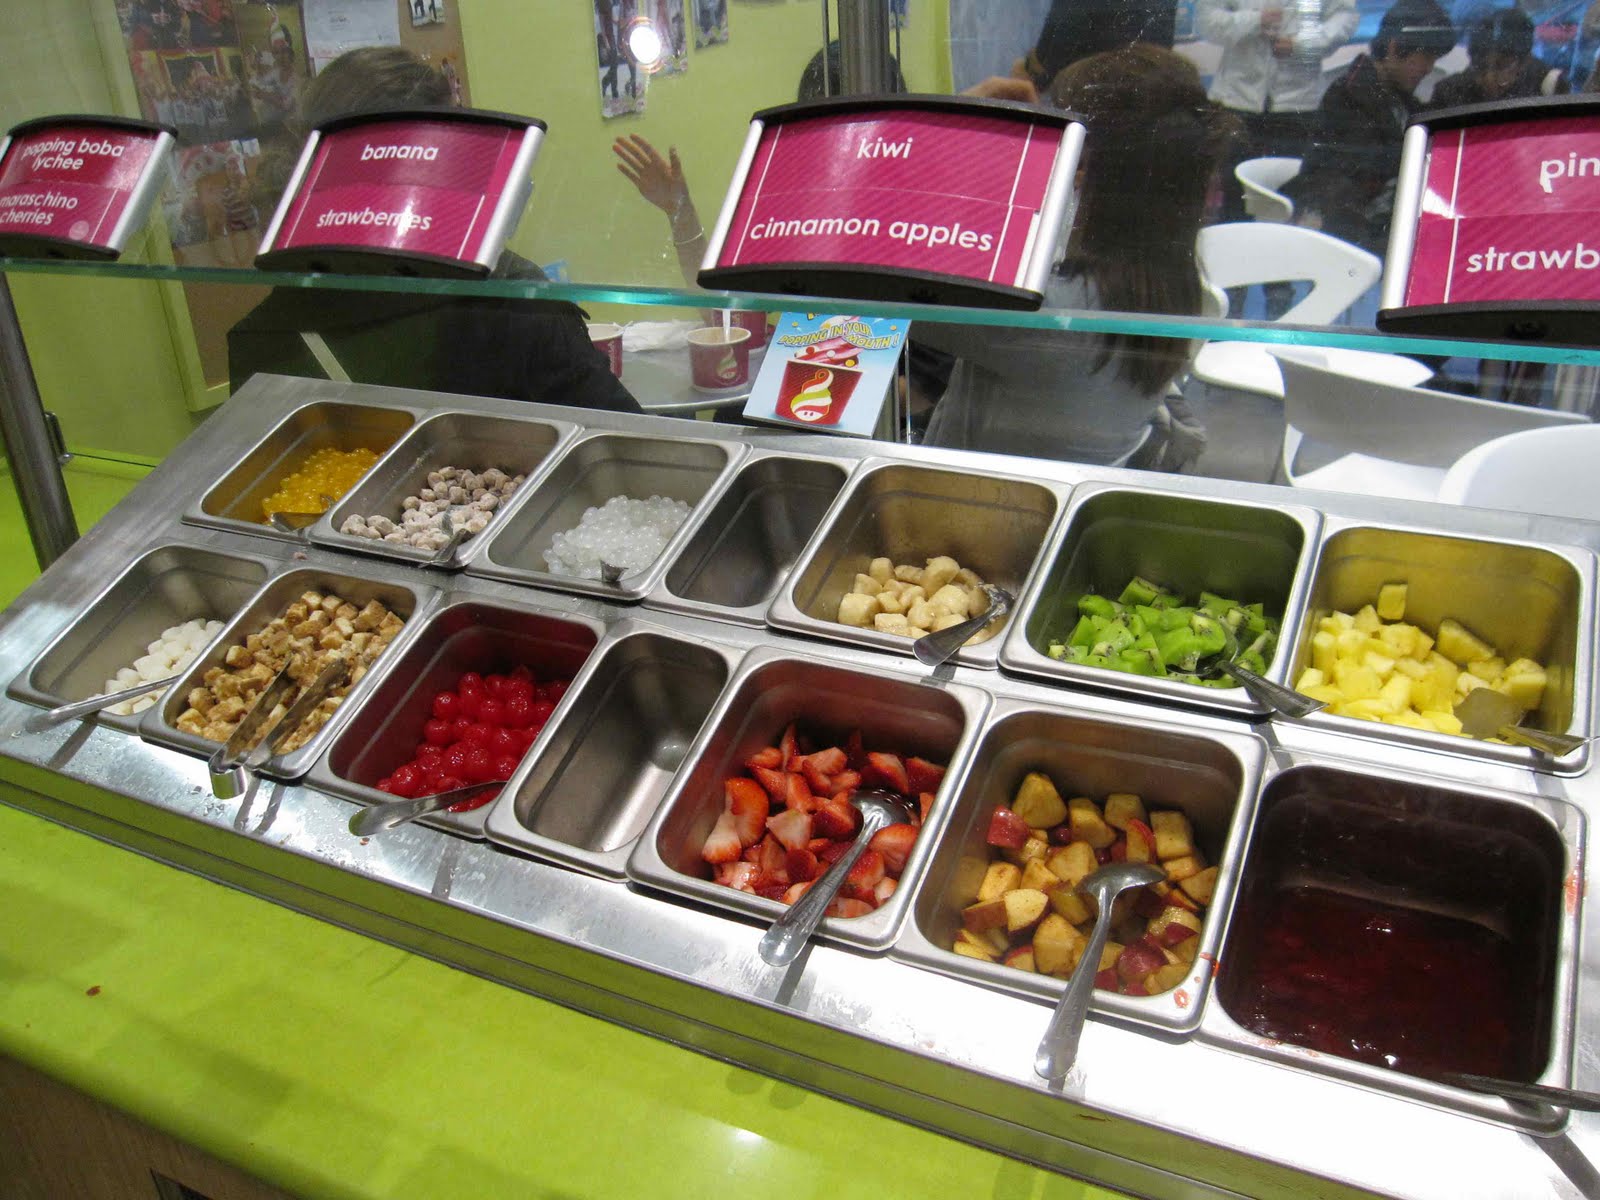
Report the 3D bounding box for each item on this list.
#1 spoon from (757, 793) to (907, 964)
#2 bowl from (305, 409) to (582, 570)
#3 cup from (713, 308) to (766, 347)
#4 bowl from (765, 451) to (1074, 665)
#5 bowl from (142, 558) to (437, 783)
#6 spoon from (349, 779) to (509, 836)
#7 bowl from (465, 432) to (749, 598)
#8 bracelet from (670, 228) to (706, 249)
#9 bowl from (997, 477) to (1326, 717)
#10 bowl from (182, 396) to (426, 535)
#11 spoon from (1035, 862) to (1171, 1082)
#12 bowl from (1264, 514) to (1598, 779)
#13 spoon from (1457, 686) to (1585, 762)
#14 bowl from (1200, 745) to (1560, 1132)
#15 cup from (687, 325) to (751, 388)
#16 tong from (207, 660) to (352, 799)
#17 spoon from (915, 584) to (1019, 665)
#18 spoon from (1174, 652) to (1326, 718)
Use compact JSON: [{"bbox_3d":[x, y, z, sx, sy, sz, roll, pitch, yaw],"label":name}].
[{"bbox_3d":[0.042,0.329,1.382,0.085,0.037,0.279,11,38,29],"label":"spoon"},{"bbox_3d":[-0.665,-0.194,1.988,0.298,0.121,0.372,13,44,17],"label":"bowl"},{"bbox_3d":[-0.096,-0.461,1.871,0.076,0.081,0.073,-1,33,1],"label":"cup"},{"bbox_3d":[0.176,-0.075,1.679,0.330,0.242,0.383,17,61,16],"label":"bowl"},{"bbox_3d":[-0.800,0.151,1.754,0.281,0.114,0.350,12,48,21],"label":"bowl"},{"bbox_3d":[-0.495,0.275,1.477,0.178,0.029,0.024,-15,-8,-30],"label":"spoon"},{"bbox_3d":[-0.366,-0.131,1.897,0.292,0.129,0.362,11,49,21],"label":"bowl"},{"bbox_3d":[-0.146,-0.477,1.464,0.042,0.013,0.037,-1,32,1],"label":"bracelet"},{"bbox_3d":[0.511,-0.015,1.618,0.398,0.246,0.336,11,72,20],"label":"bowl"},{"bbox_3d":[-0.936,-0.268,2.083,0.244,0.114,0.351,15,47,17],"label":"bowl"},{"bbox_3d":[0.352,0.388,1.251,0.096,0.036,0.320,-3,47,51],"label":"spoon"},{"bbox_3d":[0.921,0.048,1.560,0.355,0.334,0.216,9,-1,22],"label":"bowl"},{"bbox_3d":[0.893,0.152,1.368,0.066,0.030,0.118,-2,7,-12],"label":"spoon"},{"bbox_3d":[0.682,0.398,1.373,0.386,0.231,0.372,-10,53,13],"label":"bowl"},{"bbox_3d":[-0.139,-0.417,1.913,0.099,0.070,0.098,-2,33,1],"label":"cup"},{"bbox_3d":[-0.743,0.154,1.627,0.086,0.057,0.277,8,42,16],"label":"tong"},{"bbox_3d":[0.249,0.019,1.614,0.077,0.050,0.212,10,28,30],"label":"spoon"},{"bbox_3d":[0.585,0.108,1.487,0.046,0.039,0.226,-6,19,-37],"label":"spoon"}]
